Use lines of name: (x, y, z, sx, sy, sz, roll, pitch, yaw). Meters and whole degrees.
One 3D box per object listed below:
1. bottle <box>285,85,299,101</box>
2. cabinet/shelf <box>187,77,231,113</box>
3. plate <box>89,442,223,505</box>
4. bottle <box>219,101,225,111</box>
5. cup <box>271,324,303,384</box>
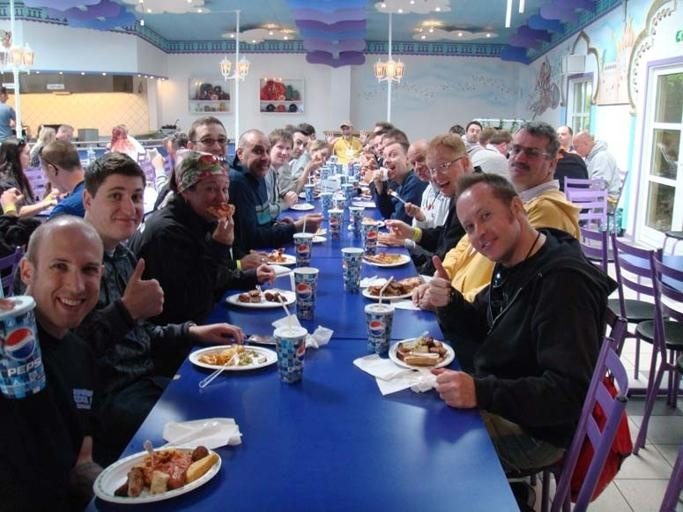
bottle: (-1.422, -4.712, 14.772, 0.434, 0.369, 0.206, -1, -5, 3)
cabinet/shelf: (-3.872, -4.767, 14.917, 1.084, 0.926, 0.390, 1, 7, -2)
plate: (-0.490, 0.569, 1.270, 0.191, 0.026, 0.167, 5, 10, 27)
bottle: (-3.496, -4.414, 15.033, 0.203, 0.346, 0.213, 2, 7, 0)
cup: (-0.157, 0.335, 1.758, 0.158, 0.211, 0.155, 1, 8, 0)
